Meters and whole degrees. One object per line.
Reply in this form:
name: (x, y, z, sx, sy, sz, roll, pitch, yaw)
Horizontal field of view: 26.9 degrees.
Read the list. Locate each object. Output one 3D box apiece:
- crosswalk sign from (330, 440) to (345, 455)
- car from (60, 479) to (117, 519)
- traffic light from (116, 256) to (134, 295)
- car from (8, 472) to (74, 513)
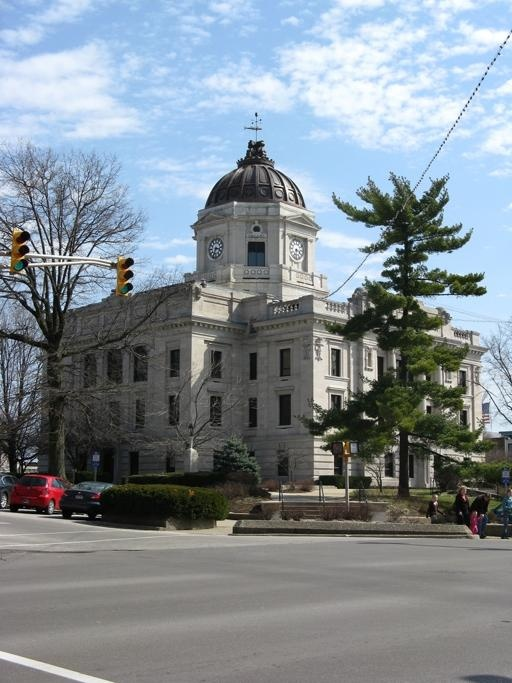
crosswalk sign: (2.393, 3.126, 31.503, 0.513, 0.587, 0.355, -1, 2, 0)
car: (-5.027, 4.958, 33.349, 1.062, 0.616, 2.121, -1, -5, 19)
traffic light: (-2.627, -1.383, 21.379, 0.325, 0.827, 1.183, 2, -9, -8)
car: (-6.925, 4.852, 34.538, 1.261, 0.831, 2.003, -1, -3, 15)
